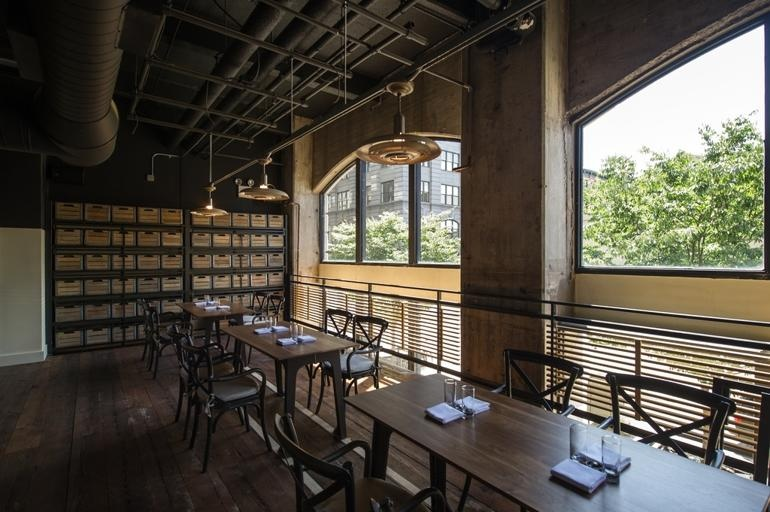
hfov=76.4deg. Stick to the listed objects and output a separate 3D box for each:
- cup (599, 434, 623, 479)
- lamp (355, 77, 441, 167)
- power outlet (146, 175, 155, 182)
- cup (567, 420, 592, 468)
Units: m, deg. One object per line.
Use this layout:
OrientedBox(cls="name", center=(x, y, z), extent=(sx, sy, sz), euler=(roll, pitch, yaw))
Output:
OrientedBox(cls="cup", center=(1.792, 1.563, 3.881), extent=(0.141, 0.288, 0.238), euler=(-2, 1, 27))
OrientedBox(cls="lamp", center=(0.086, -1.335, 4.780), extent=(0.837, 0.717, 0.853), euler=(-4, -5, 40))
OrientedBox(cls="power outlet", center=(-4.487, -1.484, 9.324), extent=(0.151, 0.144, 0.081), euler=(2, -3, -38))
OrientedBox(cls="cup", center=(1.557, 1.489, 3.955), extent=(0.145, 0.181, 0.213), euler=(-2, 1, 20))
